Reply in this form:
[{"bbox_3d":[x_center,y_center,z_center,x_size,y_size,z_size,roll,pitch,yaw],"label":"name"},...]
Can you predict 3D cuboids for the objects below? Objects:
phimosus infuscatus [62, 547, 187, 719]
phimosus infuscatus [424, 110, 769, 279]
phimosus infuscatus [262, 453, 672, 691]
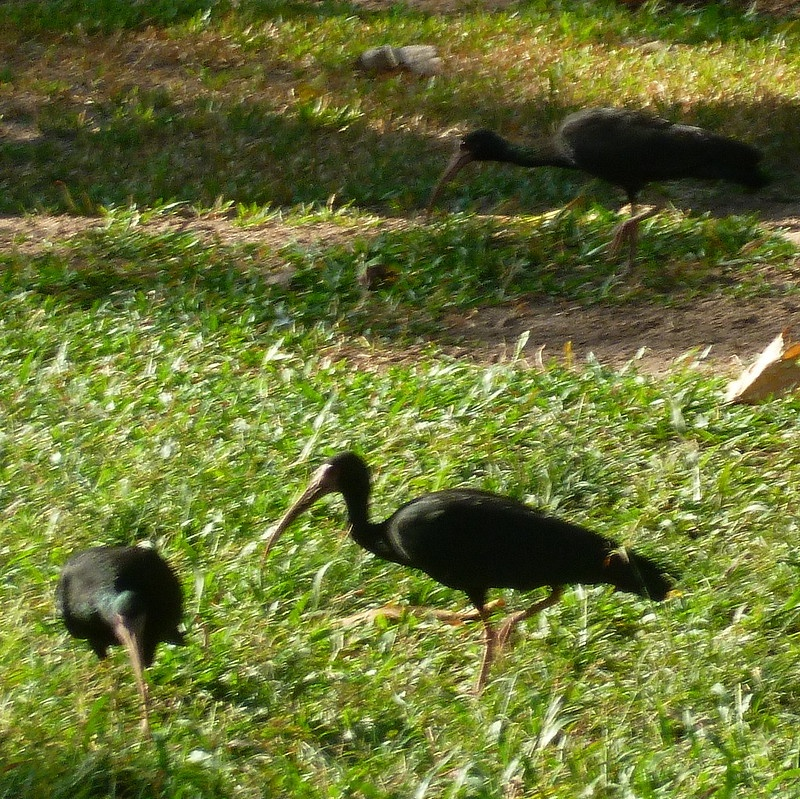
[{"bbox_3d":[-1.052,0.786,4.011,0.275,0.669,0.395,-7,55,-24],"label":"phimosus infuscatus"},{"bbox_3d":[1.223,-1.417,7.134,0.993,0.742,1.635,-16,32,-35],"label":"phimosus infuscatus"},{"bbox_3d":[0.238,0.551,3.958,1.371,0.624,0.323,2,5,3],"label":"phimosus infuscatus"}]
